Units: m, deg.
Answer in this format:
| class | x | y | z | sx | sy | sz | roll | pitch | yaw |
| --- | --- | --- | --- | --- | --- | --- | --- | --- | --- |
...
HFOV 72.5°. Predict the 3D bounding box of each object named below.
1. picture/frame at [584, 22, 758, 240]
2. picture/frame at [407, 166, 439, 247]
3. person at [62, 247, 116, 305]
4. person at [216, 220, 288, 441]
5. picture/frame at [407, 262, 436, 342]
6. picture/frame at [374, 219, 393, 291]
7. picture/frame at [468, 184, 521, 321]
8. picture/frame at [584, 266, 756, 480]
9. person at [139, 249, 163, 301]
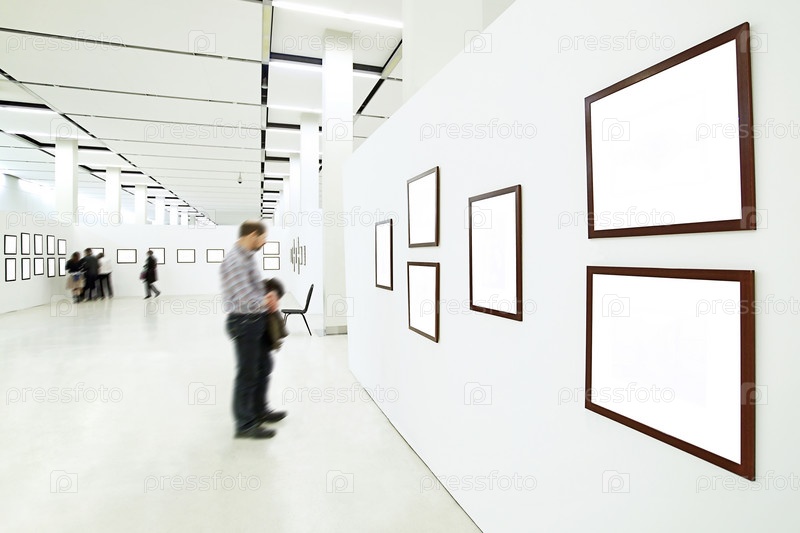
| class | x | y | z | sx | sy | sz | roll | pitch | yaw |
| --- | --- | --- | --- | --- | --- | --- | --- | --- | --- |
| picture/frame | 1.186 | -0.578 | 2.323 | 0.033 | 0.996 | 0.933 | 2 | -3 | -42 |
| picture/frame | 0.172 | -0.425 | 3.885 | 0.039 | 0.598 | 0.569 | 1 | -3 | -19 |
| person | -5.564 | 0.155 | 9.692 | 0.586 | 1.115 | 1.073 | 2 | -4 | -42 |
| person | -0.935 | 0.433 | 3.448 | 0.261 | 1.432 | 0.473 | 2 | 1 | 29 |
| picture/frame | 0.162 | 0.256 | 3.922 | 0.056 | 0.587 | 0.567 | -1 | 2 | -18 |
| picture/frame | -0.139 | -0.102 | 4.720 | 0.024 | 0.719 | 0.609 | 1 | -2 | -21 |
| picture/frame | 0.546 | -0.072 | 3.144 | 0.062 | 0.633 | 0.471 | 1 | 1 | -25 |
| picture/frame | 1.192 | 0.457 | 2.346 | 0.035 | 0.970 | 0.935 | 1 | -1 | -40 |
| person | -6.157 | 0.188 | 13.287 | 0.415 | 1.160 | 1.373 | 1 | 1 | -25 |
